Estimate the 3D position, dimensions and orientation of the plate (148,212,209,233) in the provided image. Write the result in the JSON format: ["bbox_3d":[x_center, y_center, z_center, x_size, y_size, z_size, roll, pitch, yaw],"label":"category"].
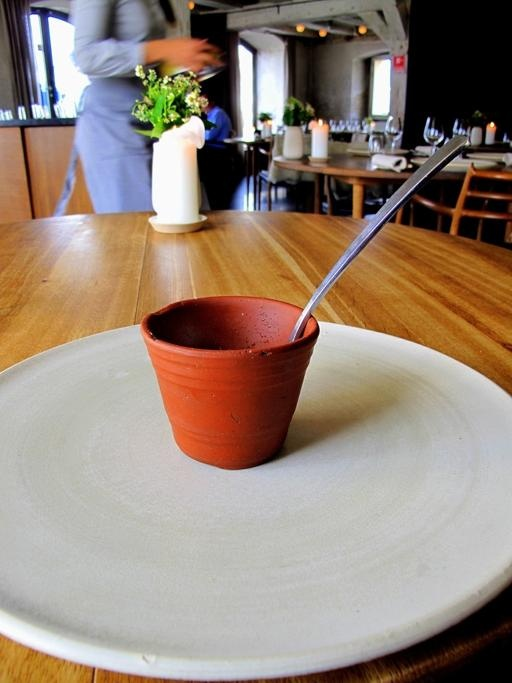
[{"bbox_3d":[-0.146,-0.220,1.028,0.069,0.013,0.065,5,29,9],"label":"plate"}]

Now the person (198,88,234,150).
[{"bbox_3d":[-0.675,-3.178,7.913,0.592,0.877,0.617,-8,6,-9],"label":"person"}]

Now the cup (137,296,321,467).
[{"bbox_3d":[-0.021,0.009,0.347,0.112,0.079,0.104,0,23,0],"label":"cup"}]

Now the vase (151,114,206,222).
[{"bbox_3d":[-0.154,-0.325,1.052,0.107,0.202,0.187,-1,23,-6],"label":"vase"}]
